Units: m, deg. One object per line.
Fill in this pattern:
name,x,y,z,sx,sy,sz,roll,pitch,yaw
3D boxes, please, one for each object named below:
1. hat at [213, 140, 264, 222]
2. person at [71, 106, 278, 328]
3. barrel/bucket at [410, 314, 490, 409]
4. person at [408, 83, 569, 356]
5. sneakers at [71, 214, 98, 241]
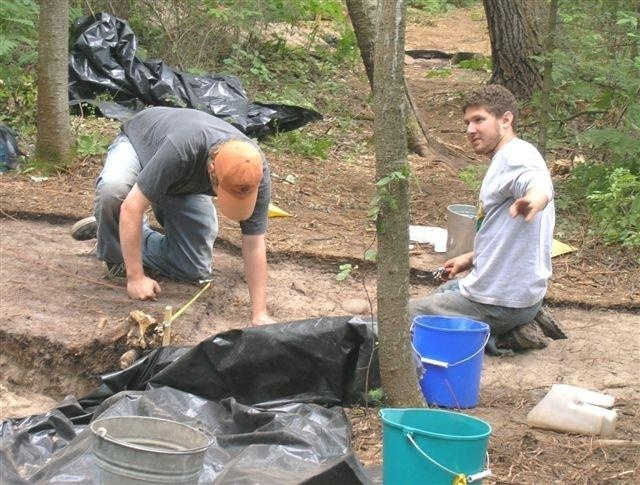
hat,-0.617,-0.460,7.754,0.302,0.586,0.272,-3,13,-24
person,-0.911,-0.435,8.521,1.280,1.320,2.251,-14,36,-38
barrel/bucket,0.941,0.879,7.855,0.703,0.508,0.672,1,8,0
person,1.275,-0.121,7.909,1.107,2.131,1.113,5,12,12
sneakers,-2.071,-0.102,9.159,0.261,0.232,0.117,-19,67,-29
